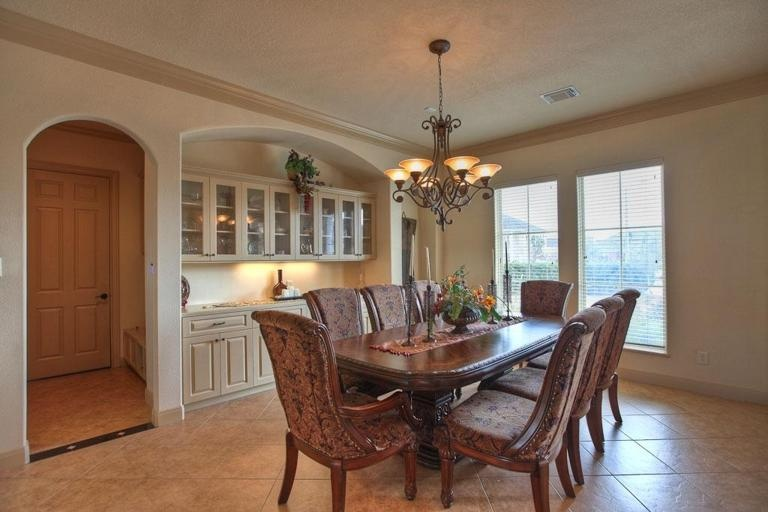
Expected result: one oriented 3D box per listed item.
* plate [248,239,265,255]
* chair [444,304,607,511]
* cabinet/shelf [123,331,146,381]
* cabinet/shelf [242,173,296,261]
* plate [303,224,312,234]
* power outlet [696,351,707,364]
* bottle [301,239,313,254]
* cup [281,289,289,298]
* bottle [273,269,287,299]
[{"bbox_3d":[-1.639,-0.119,6.338,0.218,0.193,0.022,1,-7,-44],"label":"plate"},{"bbox_3d":[1.451,1.239,5.093,1.724,2.310,1.510,1,0,40],"label":"chair"},{"bbox_3d":[-3.301,1.330,6.613,0.186,0.299,0.688,3,3,-38],"label":"cabinet/shelf"},{"bbox_3d":[-1.497,-0.417,6.445,0.673,0.960,0.296,1,3,-16],"label":"cabinet/shelf"},{"bbox_3d":[-1.042,-0.355,6.798,0.161,0.097,0.032,-2,1,-39],"label":"plate"},{"bbox_3d":[3.732,1.197,5.856,0.098,0.160,0.023,-2,2,21],"label":"power outlet"},{"bbox_3d":[-1.063,-0.131,6.790,0.112,0.185,0.209,-3,-5,42],"label":"bottle"},{"bbox_3d":[-1.318,0.511,6.679,0.091,0.095,0.088,0,2,0],"label":"cup"},{"bbox_3d":[-1.431,0.375,6.779,0.198,0.288,0.379,-3,0,-13],"label":"bottle"}]
